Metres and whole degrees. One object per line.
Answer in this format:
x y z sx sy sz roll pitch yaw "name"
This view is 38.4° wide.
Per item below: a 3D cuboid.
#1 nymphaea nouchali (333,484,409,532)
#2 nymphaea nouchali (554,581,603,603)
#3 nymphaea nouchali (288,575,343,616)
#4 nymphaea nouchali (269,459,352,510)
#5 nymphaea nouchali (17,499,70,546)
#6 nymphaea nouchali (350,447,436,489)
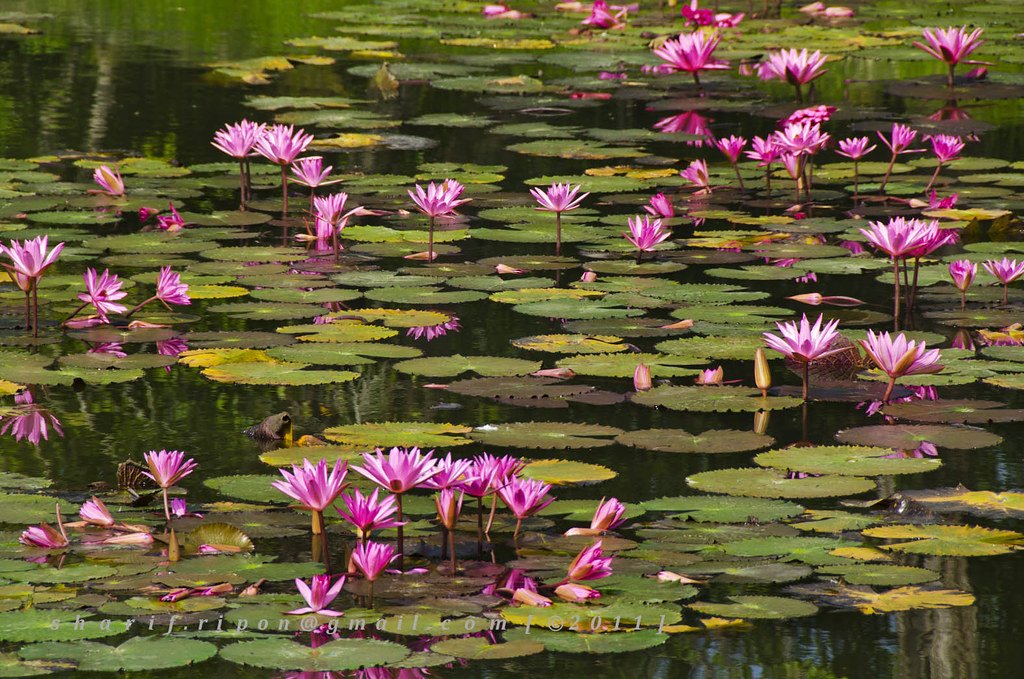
-0.445 0.527 4.422 0.204 0.065 0.159 12 12 4 "nymphaea nouchali"
0.191 0.746 4.337 0.108 0.024 0.069 2 22 16 "nymphaea nouchali"
-0.579 0.744 4.305 0.186 0.054 0.146 -1 3 -23 "nymphaea nouchali"
-0.597 0.443 4.431 0.235 0.078 0.183 -10 -4 -23 "nymphaea nouchali"
-1.494 0.588 4.592 0.161 0.098 0.124 3 4 25 "nymphaea nouchali"
-0.341 0.390 4.452 0.307 0.075 0.189 -3 11 -8 "nymphaea nouchali"
